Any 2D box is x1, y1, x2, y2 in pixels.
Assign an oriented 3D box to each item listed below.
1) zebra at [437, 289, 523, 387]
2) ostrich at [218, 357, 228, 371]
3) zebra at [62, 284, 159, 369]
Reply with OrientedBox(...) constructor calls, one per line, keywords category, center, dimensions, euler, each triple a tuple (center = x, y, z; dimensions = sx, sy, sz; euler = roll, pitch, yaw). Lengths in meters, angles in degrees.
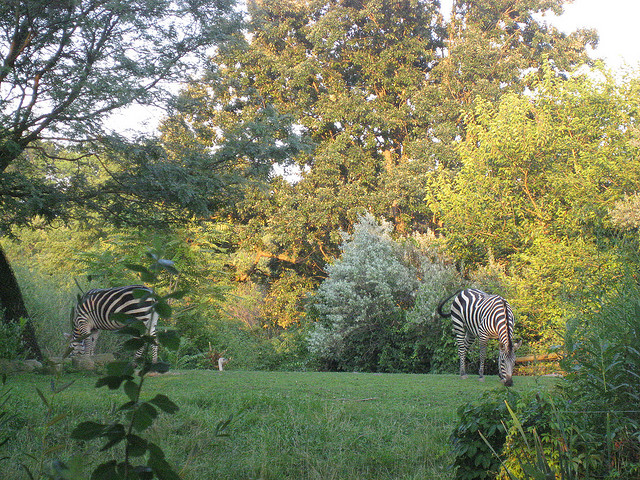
OrientedBox(category="zebra", center=(3.351, 1.871, 13.731), dimensions=(0.623, 1.981, 2.135), euler=(6, -12, -11))
OrientedBox(category="ostrich", center=(-2.567, 3.265, 17.977), dimensions=(0.194, 0.175, 0.656), euler=(-5, -2, -5))
OrientedBox(category="zebra", center=(-4.270, 1.610, 13.382), dimensions=(2.757, 1.557, 0.798), euler=(-4, 6, 17))
